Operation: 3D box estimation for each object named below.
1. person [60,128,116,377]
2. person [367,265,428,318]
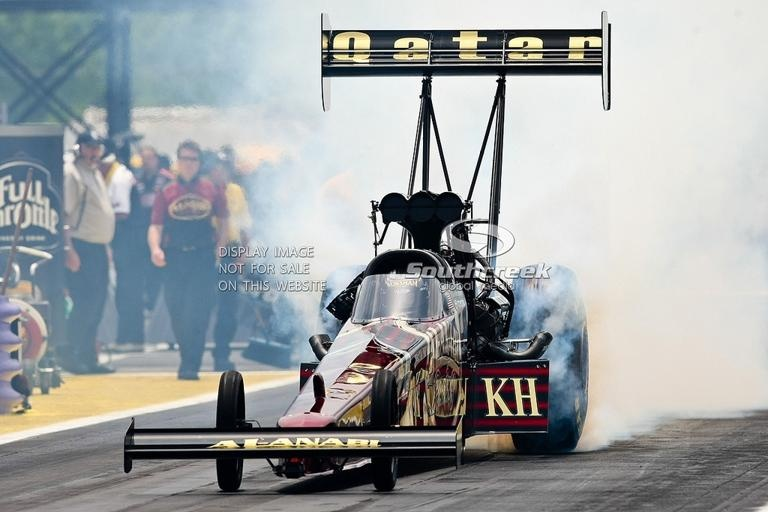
[{"bbox_3d":[-5.231,-0.095,27.995,0.859,4.379,1.006,1,-1,-10],"label":"person"},{"bbox_3d":[0.188,0.526,20.503,1.113,0.651,0.363,1,-1,0],"label":"person"}]
